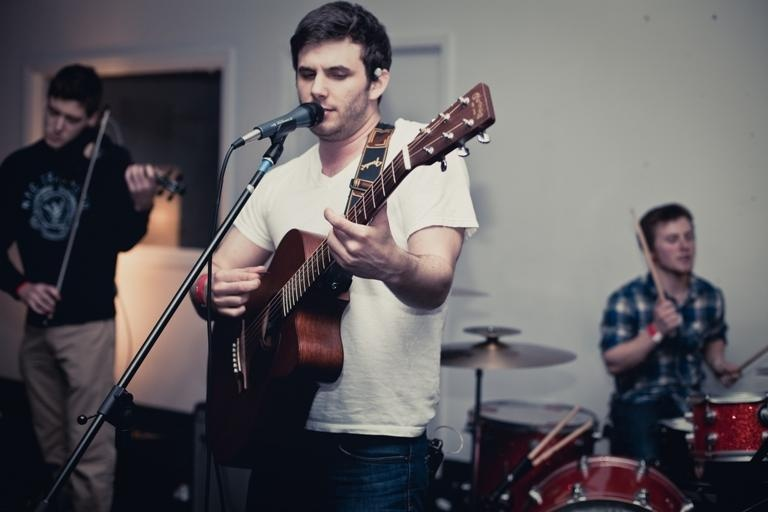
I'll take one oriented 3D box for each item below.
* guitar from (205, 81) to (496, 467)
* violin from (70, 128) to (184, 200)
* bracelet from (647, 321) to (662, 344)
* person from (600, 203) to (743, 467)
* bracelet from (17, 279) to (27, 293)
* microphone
[{"bbox_3d":[-0.178,0.113,2.873,1.025,1.039,0.298,5,2,32],"label":"guitar"},{"bbox_3d":[-1.175,-0.414,3.842,0.421,0.349,0.325,13,14,30],"label":"violin"},{"bbox_3d":[1.059,0.308,3.263,0.055,0.075,0.019,-10,-6,-37],"label":"bracelet"},{"bbox_3d":[1.114,0.297,3.258,0.517,0.994,0.146,5,2,24],"label":"person"},{"bbox_3d":[-1.699,0.145,3.877,0.010,0.045,0.045,32,-43,-25],"label":"bracelet"},{"bbox_3d":[-0.365,-0.463,2.768,0.291,0.170,0.278,1,13,-10],"label":"microphone"}]
